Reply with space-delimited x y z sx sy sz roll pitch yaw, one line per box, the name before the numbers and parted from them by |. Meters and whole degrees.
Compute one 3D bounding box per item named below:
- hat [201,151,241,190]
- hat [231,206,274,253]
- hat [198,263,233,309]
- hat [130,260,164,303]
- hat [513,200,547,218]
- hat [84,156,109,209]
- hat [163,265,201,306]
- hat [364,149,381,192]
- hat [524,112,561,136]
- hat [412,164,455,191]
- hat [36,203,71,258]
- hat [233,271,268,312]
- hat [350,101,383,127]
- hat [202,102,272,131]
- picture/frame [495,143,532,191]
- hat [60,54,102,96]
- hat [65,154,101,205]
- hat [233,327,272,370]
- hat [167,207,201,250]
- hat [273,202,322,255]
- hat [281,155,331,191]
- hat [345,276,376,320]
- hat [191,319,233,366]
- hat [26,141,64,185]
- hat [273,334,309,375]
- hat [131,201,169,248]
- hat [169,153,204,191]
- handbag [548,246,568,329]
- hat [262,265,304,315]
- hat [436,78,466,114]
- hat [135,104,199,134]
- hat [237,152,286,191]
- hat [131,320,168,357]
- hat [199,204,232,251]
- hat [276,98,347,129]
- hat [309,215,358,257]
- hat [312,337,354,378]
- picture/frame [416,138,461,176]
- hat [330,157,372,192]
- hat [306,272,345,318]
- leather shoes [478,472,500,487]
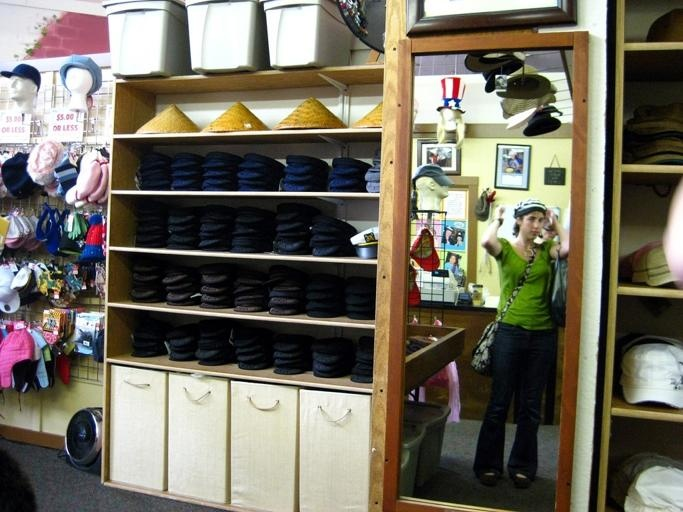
hat | -0.851 -0.593 4.028 0.264 0.232 0.258 0 12 -20
hat | -0.596 -0.168 3.940 0.245 0.260 0.335 5 7 19
hat | -0.859 0.208 3.998 0.294 0.269 0.247 1 -2 -8
hat | -1.410 0.177 4.197 0.277 0.265 0.272 -1 1 -34
hat | 1.033 -0.250 3.172 0.120 0.059 0.105 0 -2 -2
hat | -1.842 -0.529 4.382 0.132 0.355 0.288 7 -37 -16
hat | -1.132 0.202 4.093 0.271 0.226 0.269 1 2 43
hat | 0.199 -0.544 3.675 0.089 0.252 0.263 3 -1 2
hat | 1.093 -0.703 3.144 0.161 0.047 0.106 -11 23 25
hat | 0.518 -0.448 3.299 0.181 0.086 0.119 6 1 10
hat | -2.331 -0.219 4.625 0.399 0.437 0.164 3 -1 41
hat | -0.619 0.242 3.960 0.239 0.249 0.266 1 0 13
hat | 0.169 -0.873 3.688 0.197 0.105 0.194 4 7 27
hat | -0.693 -0.888 3.868 0.281 0.112 0.278 -3 3 -36
picture/frame | 0.947 -0.487 3.167 0.270 0.335 0.014 1 0 14
hat | -2.015 -1.367 4.492 0.278 0.313 0.177 0 10 -8
hat | -1.909 -0.578 4.312 0.184 0.430 0.289 4 -1 -39
hat | -0.604 0.625 3.975 0.237 0.106 0.278 2 5 2
hat | -1.099 -0.191 4.190 0.262 0.255 0.275 0 -1 21
hat | -0.295 -0.180 3.990 0.344 0.353 0.342 0 -3 -14
hat | -0.240 -0.528 3.824 0.234 0.193 0.281 4 1 -4
hat | 0.119 0.274 3.791 0.192 0.243 0.182 3 -1 -1
hat | -0.869 0.588 4.050 0.290 0.267 0.285 1 0 32
hat | -2.269 -0.705 4.566 0.270 0.348 0.118 26 -1 18
hat | -0.332 0.654 3.859 0.207 0.209 0.248 2 2 4
hat | -1.369 -0.227 4.170 0.307 0.290 0.306 -1 0 37
hat | -1.077 -0.583 4.038 0.280 0.267 0.220 -2 3 -33
handbag | 1.184 0.193 3.157 0.081 0.293 0.051 3 -1 22
hat | -0.362 0.216 3.914 0.247 0.323 0.252 8 6 4
hat | 0.620 -0.896 3.292 0.166 0.169 0.149 9 2 21
hat | -1.209 -0.897 4.005 0.285 0.117 0.282 -4 5 -36
hat | -0.550 -0.556 3.953 0.316 0.240 0.206 3 -1 -11
hat | -1.397 0.603 4.239 0.215 0.149 0.284 0 -5 7
hat | -0.865 -0.187 3.976 0.252 0.291 0.308 2 1 9
hat | -0.194 -0.890 3.755 0.284 0.107 0.279 -1 1 -25
hat | -0.067 -0.119 3.760 0.250 0.171 0.284 0 3 5
hat | -0.061 0.661 3.794 0.214 0.178 0.259 1 2 -5
picture/frame | 0.556 -0.552 3.258 0.224 0.182 0.018 2 -1 7
hat | 0.053 -0.538 3.818 0.200 0.175 0.248 3 4 17
hat | -0.106 0.260 3.802 0.269 0.239 0.267 -1 -2 45
leather shoes | 0.824 1.239 3.238 0.114 0.060 0.036 2 8 7
